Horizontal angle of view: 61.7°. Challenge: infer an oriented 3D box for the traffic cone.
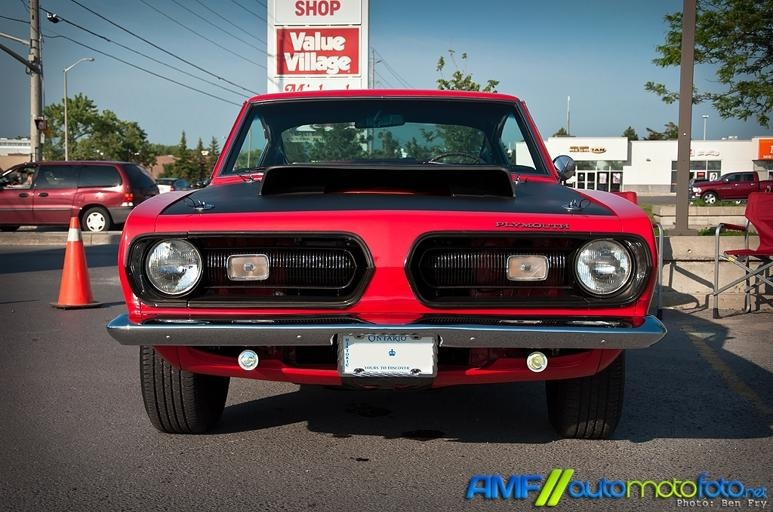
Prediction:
[{"bbox_3d":[-4.355,0.073,8.974,0.514,1.266,0.863,-5,11,-26],"label":"traffic cone"}]
